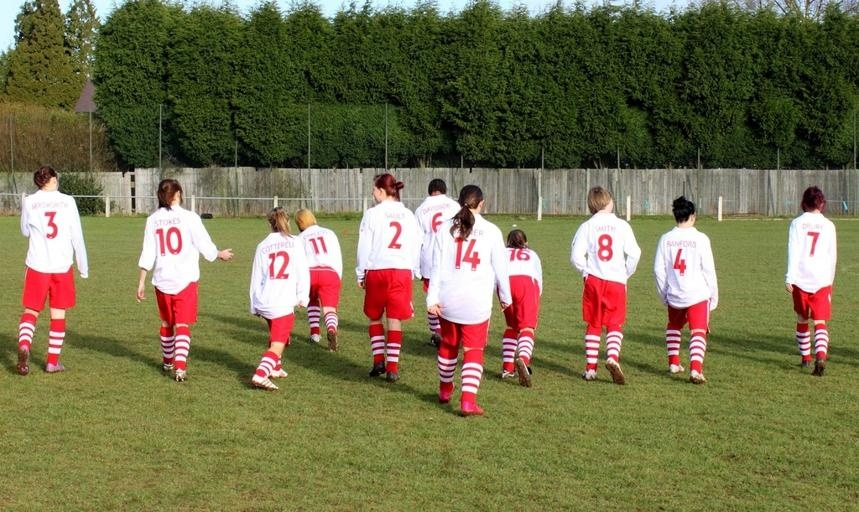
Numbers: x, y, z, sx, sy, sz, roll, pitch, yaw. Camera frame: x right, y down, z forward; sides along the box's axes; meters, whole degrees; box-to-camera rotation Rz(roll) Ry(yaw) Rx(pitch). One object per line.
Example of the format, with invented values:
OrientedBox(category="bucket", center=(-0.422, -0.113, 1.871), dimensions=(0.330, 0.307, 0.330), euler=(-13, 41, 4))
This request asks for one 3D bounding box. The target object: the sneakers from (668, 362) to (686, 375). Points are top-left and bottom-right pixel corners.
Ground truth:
OrientedBox(category="sneakers", center=(5.232, 2.403, 20.816), dimensions=(0.169, 0.148, 0.319), euler=(4, 11, 28))

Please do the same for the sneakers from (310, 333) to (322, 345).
OrientedBox(category="sneakers", center=(-2.581, 1.917, 22.328), dimensions=(0.228, 0.207, 0.433), euler=(1, -1, -7))

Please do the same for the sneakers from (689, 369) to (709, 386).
OrientedBox(category="sneakers", center=(5.617, 2.545, 20.482), dimensions=(0.179, 0.269, 0.471), euler=(2, -6, 32))

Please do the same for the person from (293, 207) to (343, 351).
OrientedBox(category="person", center=(-2.509, 0.489, 22.062), dimensions=(1.157, 0.986, 3.755), euler=(-3, 51, -17))

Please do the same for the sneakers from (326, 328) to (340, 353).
OrientedBox(category="sneakers", center=(-2.143, 1.889, 21.871), dimensions=(0.203, 0.527, 0.255), euler=(-4, 5, 0))

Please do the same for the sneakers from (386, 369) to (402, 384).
OrientedBox(category="sneakers", center=(-0.757, 2.529, 20.418), dimensions=(0.251, 0.286, 0.620), euler=(1, 5, 4))

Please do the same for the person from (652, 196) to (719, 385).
OrientedBox(category="person", center=(5.343, 0.727, 20.493), dimensions=(1.242, 3.816, 0.496), euler=(3, 4, 15))

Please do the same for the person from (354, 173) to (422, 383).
OrientedBox(category="person", center=(-0.855, 0.457, 20.487), dimensions=(1.288, 4.315, 0.621), euler=(1, 4, -5))

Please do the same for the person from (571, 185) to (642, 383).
OrientedBox(category="person", center=(3.631, 0.619, 20.440), dimensions=(1.265, 4.035, 0.647), euler=(3, 4, 12))

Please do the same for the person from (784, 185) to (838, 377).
OrientedBox(category="person", center=(8.085, 0.525, 20.877), dimensions=(0.901, 3.914, 0.732), euler=(4, 5, 24))

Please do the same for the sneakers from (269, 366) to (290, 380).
OrientedBox(category="sneakers", center=(-3.131, 2.473, 20.478), dimensions=(0.144, 0.193, 0.445), euler=(2, 8, 7))

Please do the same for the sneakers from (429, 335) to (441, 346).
OrientedBox(category="sneakers", center=(0.132, 1.923, 22.140), dimensions=(0.115, 0.374, 0.156), euler=(0, 12, 31))

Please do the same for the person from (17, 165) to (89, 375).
OrientedBox(category="person", center=(-7.933, 0.305, 20.601), dimensions=(1.280, 4.316, 0.734), euler=(0, 5, -20))

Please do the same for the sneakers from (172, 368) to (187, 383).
OrientedBox(category="sneakers", center=(-5.161, 2.511, 20.353), dimensions=(0.223, 0.275, 0.278), euler=(1, -6, -10))
